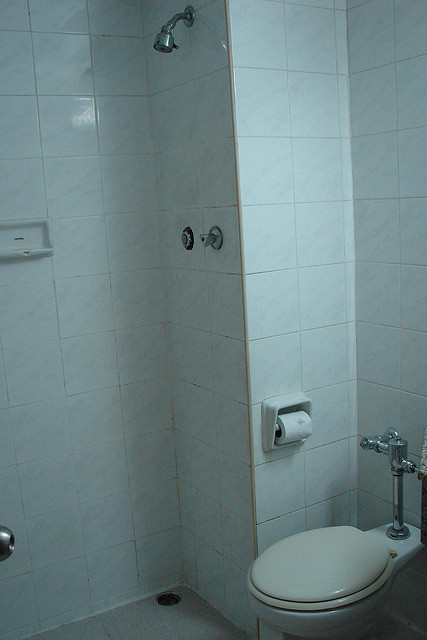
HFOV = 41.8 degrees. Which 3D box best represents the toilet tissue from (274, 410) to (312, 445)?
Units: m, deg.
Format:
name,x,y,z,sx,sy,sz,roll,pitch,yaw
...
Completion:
name,x,y,z,sx,sy,sz,roll,pitch,yaw
toilet tissue,0.242,0.343,1.836,0.121,0.097,0.104,-10,-11,-29
